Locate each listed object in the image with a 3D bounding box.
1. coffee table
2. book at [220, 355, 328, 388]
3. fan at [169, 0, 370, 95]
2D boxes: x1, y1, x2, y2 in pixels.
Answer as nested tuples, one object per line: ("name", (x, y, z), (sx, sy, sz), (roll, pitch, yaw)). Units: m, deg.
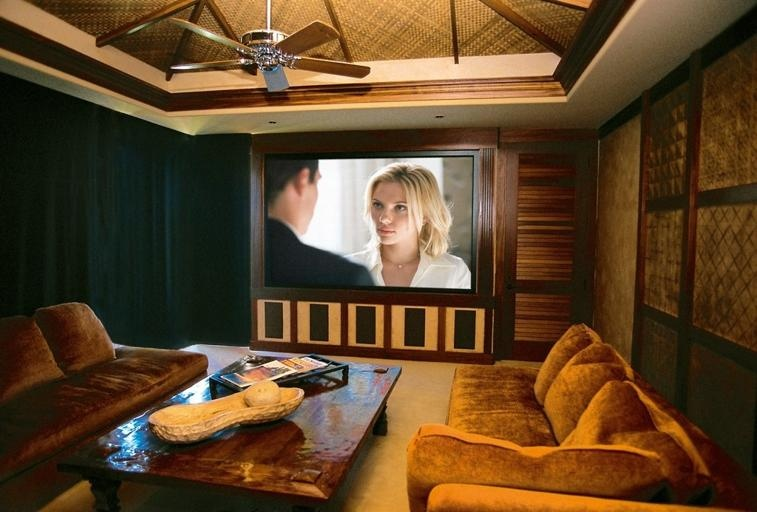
("coffee table", (-0.870, 1.253, 3.653), (1.668, 0.654, 1.580), (0, 1, 15))
("book", (-0.819, 0.902, 4.011), (0.415, 0.093, 0.285), (-5, 8, -34))
("fan", (-0.671, -1.467, 3.775), (1.047, 0.486, 1.055), (1, -5, -12))
